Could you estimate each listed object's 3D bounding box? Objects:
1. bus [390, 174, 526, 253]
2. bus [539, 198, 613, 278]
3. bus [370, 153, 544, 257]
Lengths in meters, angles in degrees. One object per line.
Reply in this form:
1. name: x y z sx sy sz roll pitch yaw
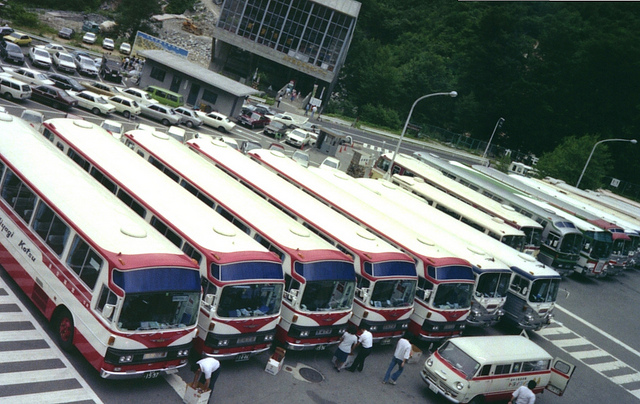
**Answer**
1. bus: 10.626 0.851 60.039 3.787 3.652 14.232 -21 43 -34
2. bus: 23.521 3.339 64.738 5.797 4.372 7.539 7 12 -38
3. bus: 10.719 0.299 58.750 3.227 3.195 12.284 -25 52 -36
